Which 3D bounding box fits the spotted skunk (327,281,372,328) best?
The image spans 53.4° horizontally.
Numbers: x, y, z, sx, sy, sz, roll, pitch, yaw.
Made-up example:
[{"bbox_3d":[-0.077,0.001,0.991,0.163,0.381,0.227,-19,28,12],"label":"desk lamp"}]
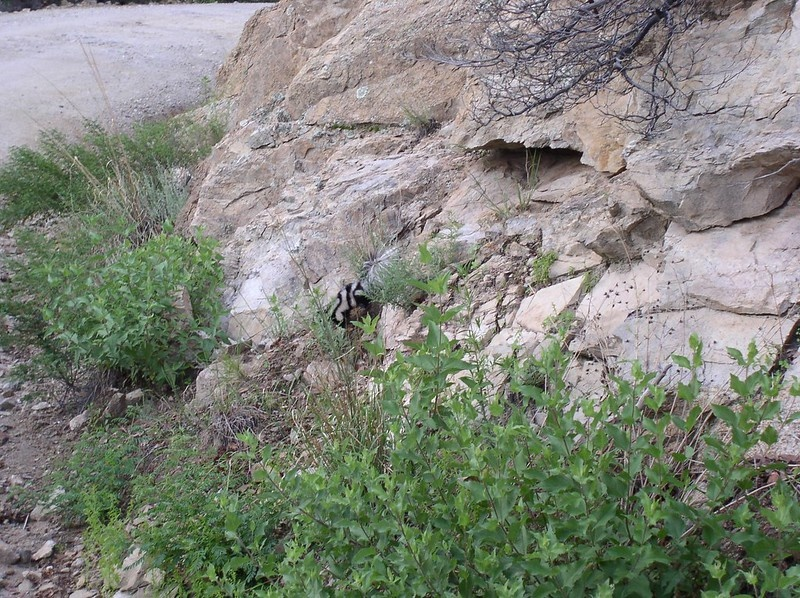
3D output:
[{"bbox_3d":[-0.357,0.040,5.645,0.335,0.239,0.127,-58,2,7],"label":"spotted skunk"}]
